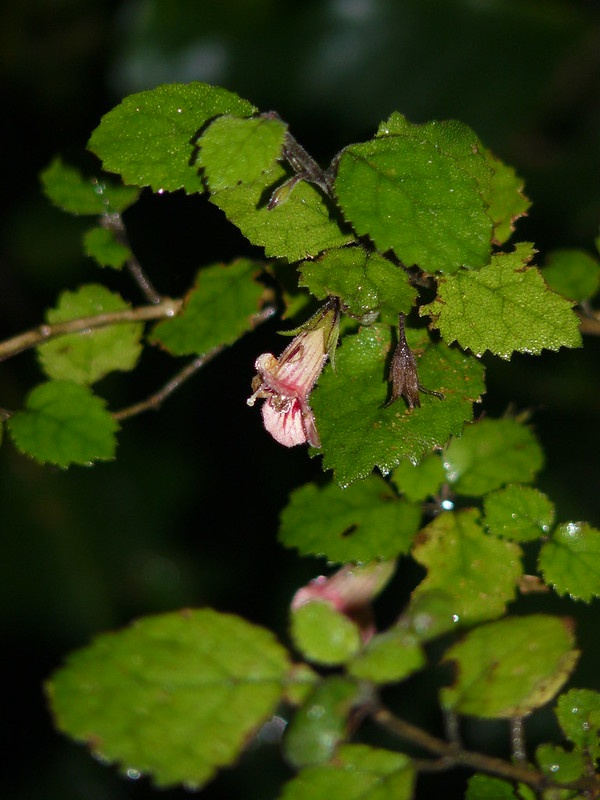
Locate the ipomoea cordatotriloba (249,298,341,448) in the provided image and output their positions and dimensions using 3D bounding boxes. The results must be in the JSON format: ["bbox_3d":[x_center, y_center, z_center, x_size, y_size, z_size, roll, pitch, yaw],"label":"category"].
[{"bbox_3d":[-0.006,-0.035,1.038,0.146,0.151,0.181,7,18,7],"label":"ipomoea cordatotriloba"}]

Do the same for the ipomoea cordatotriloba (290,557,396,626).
[{"bbox_3d":[0.058,0.258,1.165,0.138,0.068,0.209,-9,5,5],"label":"ipomoea cordatotriloba"}]
